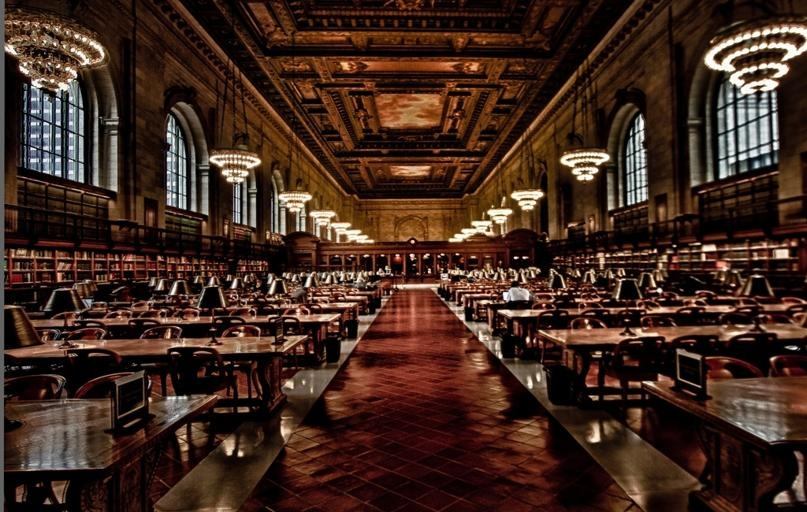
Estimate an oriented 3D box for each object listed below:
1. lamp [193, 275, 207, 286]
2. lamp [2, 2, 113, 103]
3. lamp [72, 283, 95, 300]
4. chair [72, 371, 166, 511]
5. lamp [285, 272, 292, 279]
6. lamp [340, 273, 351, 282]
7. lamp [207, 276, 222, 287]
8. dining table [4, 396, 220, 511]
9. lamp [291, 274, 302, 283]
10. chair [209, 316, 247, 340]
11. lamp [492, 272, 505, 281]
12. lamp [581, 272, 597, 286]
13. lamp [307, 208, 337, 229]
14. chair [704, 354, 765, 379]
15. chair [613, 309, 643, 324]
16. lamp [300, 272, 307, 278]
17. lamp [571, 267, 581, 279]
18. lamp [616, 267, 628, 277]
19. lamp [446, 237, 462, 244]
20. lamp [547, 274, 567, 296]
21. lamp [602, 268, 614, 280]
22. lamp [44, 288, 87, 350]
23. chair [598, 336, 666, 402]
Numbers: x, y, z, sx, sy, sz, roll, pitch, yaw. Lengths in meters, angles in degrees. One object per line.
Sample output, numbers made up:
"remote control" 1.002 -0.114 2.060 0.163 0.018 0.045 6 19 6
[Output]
"lamp" -4.936 0.590 13.370 0.302 0.273 0.290 1 2 14
"lamp" -5.581 -3.287 8.873 1.235 1.115 0.685 1 -6 -37
"lamp" -4.931 0.539 8.523 0.350 0.283 0.333 -3 -5 7
"chair" -3.137 1.706 6.173 0.795 0.848 0.961 -1 -2 13
"lamp" -3.293 0.556 15.764 0.150 0.139 0.141 1 -3 -15
"lamp" -2.145 0.804 20.657 0.378 0.377 0.382 2 2 20
"lamp" -3.962 0.521 11.553 0.250 0.127 0.235 1 -5 -12
"dining table" -3.291 2.075 5.816 2.007 1.014 0.865 -2 -5 -3
"lamp" -2.803 0.577 14.358 0.361 0.283 0.340 1 -2 -1
"chair" -3.022 1.144 9.389 0.689 0.336 0.466 0 5 -3
"lamp" 2.710 0.592 15.868 0.409 0.228 0.438 -1 -5 2
"lamp" 4.444 0.557 13.337 0.527 0.326 0.573 -4 -5 26
"lamp" -4.360 -1.982 29.145 1.915 0.871 1.796 0 -4 -14
"chair" 4.120 1.399 6.954 0.558 0.337 1.293 -5 -5 28
"chair" 3.885 1.040 9.610 0.488 0.318 0.322 0 1 2
"lamp" -3.374 0.605 18.482 0.289 0.270 0.257 0 -3 -1
"lamp" 6.786 0.661 21.883 0.372 0.343 0.360 -3 -2 18
"lamp" 6.882 0.499 17.497 0.278 0.261 0.274 0 -7 -6
"lamp" 3.148 -0.964 35.087 0.935 0.202 0.823 0 -3 0
"lamp" 3.390 0.662 12.300 0.623 0.416 0.550 -3 3 12
"lamp" 5.334 0.476 14.505 0.320 0.204 0.310 -4 -4 34
"lamp" -5.039 0.965 8.271 0.906 0.813 0.866 4 -4 -33
"chair" 3.236 1.601 7.904 0.813 0.952 0.860 -2 -5 -2
